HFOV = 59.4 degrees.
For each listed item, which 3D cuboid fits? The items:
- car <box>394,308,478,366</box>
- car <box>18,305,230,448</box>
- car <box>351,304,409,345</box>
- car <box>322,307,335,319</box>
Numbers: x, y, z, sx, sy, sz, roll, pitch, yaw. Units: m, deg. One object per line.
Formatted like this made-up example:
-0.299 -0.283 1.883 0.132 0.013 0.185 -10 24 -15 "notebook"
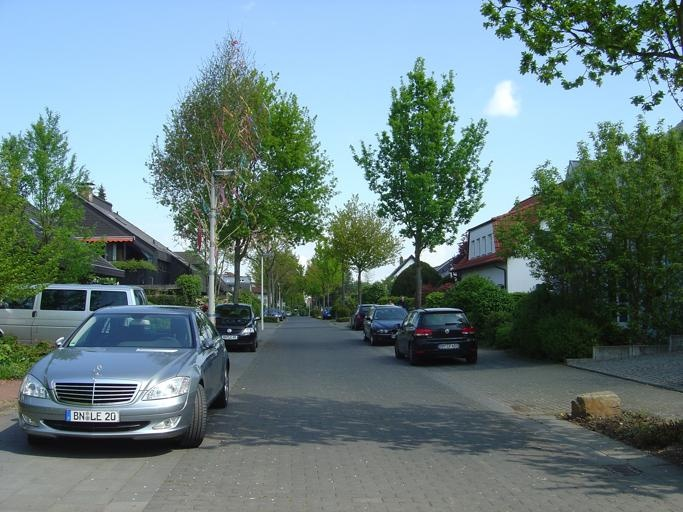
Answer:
2.688 2.398 18.113 1.286 1.083 2.387 1 -1 -3 "car"
-2.858 1.630 8.962 1.519 1.099 3.192 0 -9 0 "car"
1.702 3.139 27.102 1.475 1.319 3.441 0 -7 -5 "car"
-1.520 6.725 68.249 0.775 0.985 2.826 0 -4 -4 "car"
